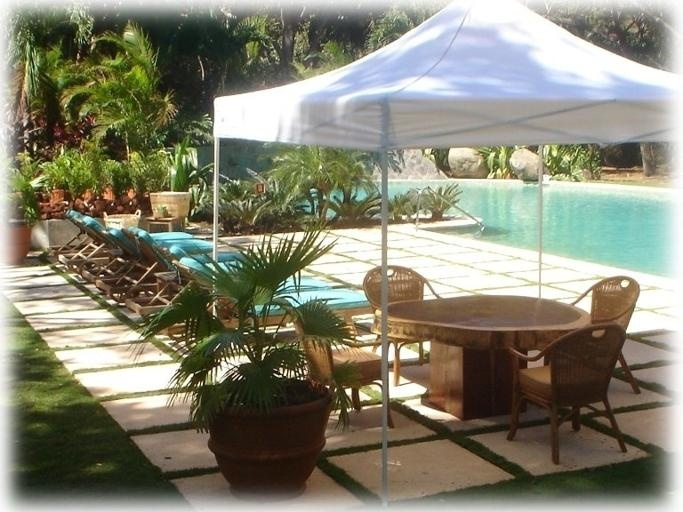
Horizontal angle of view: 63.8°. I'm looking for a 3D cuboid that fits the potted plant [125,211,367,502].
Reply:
[{"bbox_3d":[-0.664,0.586,4.115,1.603,1.812,1.641,1,2,25],"label":"potted plant"}]
